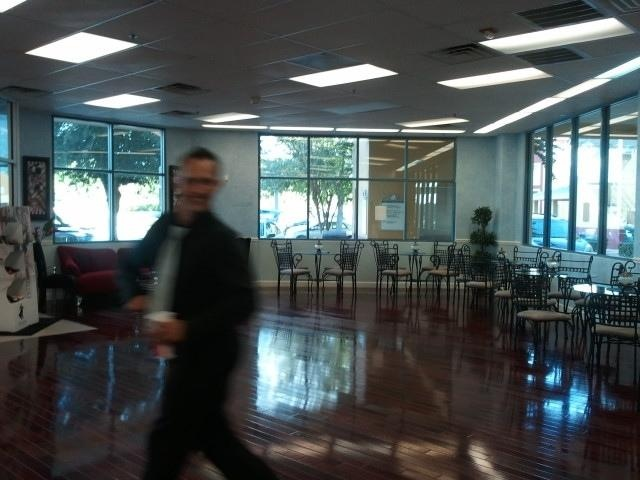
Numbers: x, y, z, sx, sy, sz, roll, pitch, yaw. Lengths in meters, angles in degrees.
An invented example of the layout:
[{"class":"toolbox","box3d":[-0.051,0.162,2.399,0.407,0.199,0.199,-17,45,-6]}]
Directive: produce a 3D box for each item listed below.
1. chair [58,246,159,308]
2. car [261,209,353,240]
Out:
[{"class":"chair","box3d":[-3.274,0.572,7.305,0.588,0.742,1.140,-1,-2,42]},{"class":"car","box3d":[-0.395,-0.225,12.839,1.902,0.707,0.913,3,-4,-5]}]
